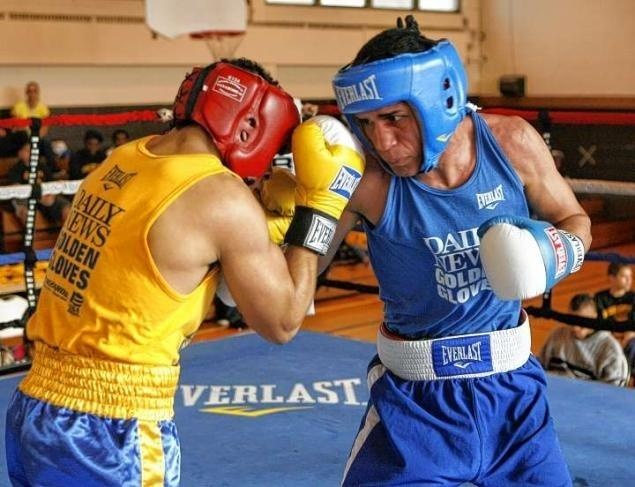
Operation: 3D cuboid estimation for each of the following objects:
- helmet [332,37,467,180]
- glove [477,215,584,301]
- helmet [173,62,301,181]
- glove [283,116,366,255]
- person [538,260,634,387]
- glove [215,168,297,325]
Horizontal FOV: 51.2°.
[{"bbox_3d":[0.255,-0.379,2.023,0.400,0.383,0.308,-18,-2,-33],"label":"helmet"},{"bbox_3d":[0.635,0.039,1.936,0.328,0.233,0.239,-1,14,4],"label":"glove"},{"bbox_3d":[-0.216,-0.344,1.977,0.348,0.315,0.279,18,6,-19],"label":"helmet"},{"bbox_3d":[0.018,-0.165,1.987,0.172,0.378,0.270,15,1,27],"label":"glove"},{"bbox_3d":[1.893,0.533,4.370,0.853,0.309,0.626,-23,22,-30],"label":"person"},{"bbox_3d":[-0.164,0.003,1.807,0.156,0.392,0.392,15,10,-14],"label":"glove"}]
